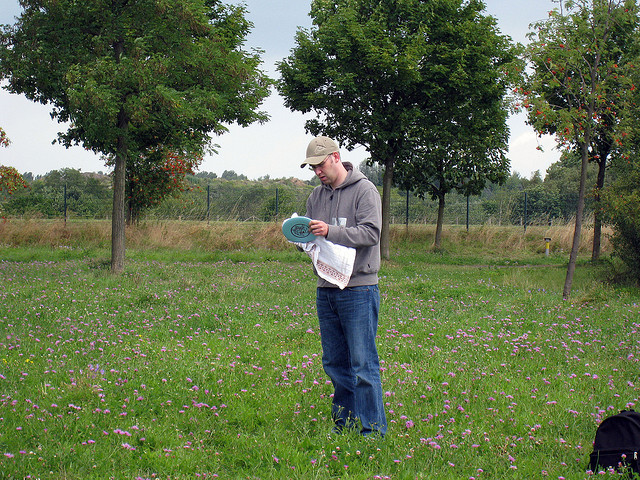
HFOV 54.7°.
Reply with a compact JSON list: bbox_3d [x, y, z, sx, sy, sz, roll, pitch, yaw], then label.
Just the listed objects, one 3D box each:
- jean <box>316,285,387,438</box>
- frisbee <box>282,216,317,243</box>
[{"bbox_3d":[0.496,1.796,9.431,1.136,2.204,0.403,5,1,29],"label":"jean"},{"bbox_3d":[-0.294,-0.150,9.291,0.498,0.366,0.386,5,1,9],"label":"frisbee"}]
